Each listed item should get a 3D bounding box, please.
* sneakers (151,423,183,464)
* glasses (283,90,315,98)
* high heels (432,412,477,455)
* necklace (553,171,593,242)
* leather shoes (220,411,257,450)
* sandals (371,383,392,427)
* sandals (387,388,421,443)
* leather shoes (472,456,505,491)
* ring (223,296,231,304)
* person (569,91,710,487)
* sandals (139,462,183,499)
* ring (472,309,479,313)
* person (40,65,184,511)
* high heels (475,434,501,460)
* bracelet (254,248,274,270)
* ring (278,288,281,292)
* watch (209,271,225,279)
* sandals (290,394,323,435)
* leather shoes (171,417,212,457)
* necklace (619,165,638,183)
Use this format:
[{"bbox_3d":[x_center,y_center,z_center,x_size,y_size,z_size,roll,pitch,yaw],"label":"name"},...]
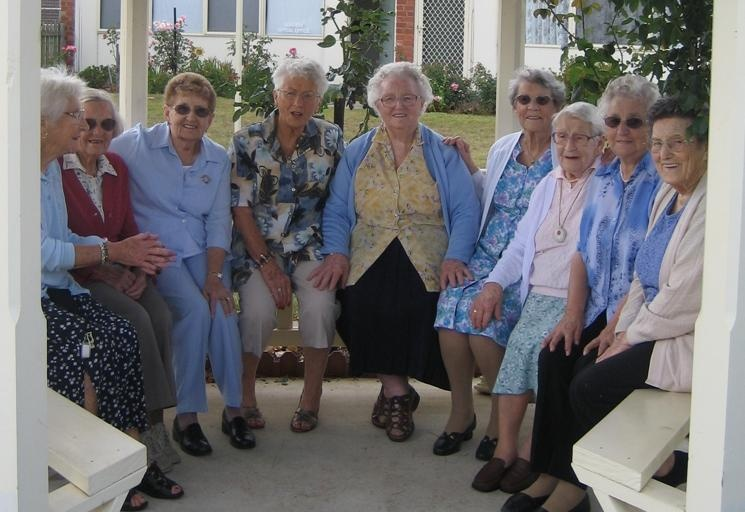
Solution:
[{"bbox_3d":[-1.025,0.931,3.773,0.085,0.255,0.099,-31,5,-33],"label":"sneakers"},{"bbox_3d":[-0.415,-0.906,4.252,0.166,0.038,0.049,-3,14,-16],"label":"glasses"},{"bbox_3d":[0.426,0.961,4.073,0.106,0.117,0.294,1,4,41],"label":"high heels"},{"bbox_3d":[0.977,-0.270,3.782,0.194,0.367,0.130,9,-3,11],"label":"necklace"},{"bbox_3d":[-0.715,0.921,4.077,0.096,0.103,0.261,-3,10,-32],"label":"leather shoes"},{"bbox_3d":[0.051,0.862,4.330,0.081,0.096,0.243,2,22,-2],"label":"sandals"},{"bbox_3d":[0.177,0.873,4.193,0.110,0.131,0.311,-2,34,11],"label":"sandals"},{"bbox_3d":[0.573,1.048,3.700,0.079,0.088,0.223,9,24,38],"label":"leather shoes"},{"bbox_3d":[-0.757,0.235,4.039,0.034,0.034,0.009,5,-23,-24],"label":"ring"},{"bbox_3d":[1.136,0.100,3.179,0.482,1.482,0.515,9,16,30],"label":"person"},{"bbox_3d":[-1.027,1.034,3.595,0.299,0.120,0.101,6,14,31],"label":"sandals"},{"bbox_3d":[0.522,0.282,3.914,0.018,0.025,0.024,33,21,34],"label":"ring"},{"bbox_3d":[-1.200,0.148,3.438,0.525,1.926,0.722,-5,15,-23],"label":"person"},{"bbox_3d":[0.576,0.992,3.916,0.059,0.060,0.163,0,34,26],"label":"high heels"},{"bbox_3d":[-0.612,0.014,4.235,0.069,0.090,0.033,9,-28,24],"label":"bracelet"},{"bbox_3d":[-0.510,0.184,4.192,0.016,0.011,0.009,-3,-30,-8],"label":"ring"},{"bbox_3d":[-0.833,0.100,4.134,0.046,0.025,0.035,5,-21,-5],"label":"watch"},{"bbox_3d":[-0.366,0.891,4.261,0.133,0.087,0.322,0,13,0],"label":"sandals"},{"bbox_3d":[-0.940,0.936,3.999,0.104,0.115,0.270,-7,16,-38],"label":"leather shoes"},{"bbox_3d":[1.209,-0.394,3.631,0.060,0.071,0.078,-3,-17,23],"label":"necklace"}]
